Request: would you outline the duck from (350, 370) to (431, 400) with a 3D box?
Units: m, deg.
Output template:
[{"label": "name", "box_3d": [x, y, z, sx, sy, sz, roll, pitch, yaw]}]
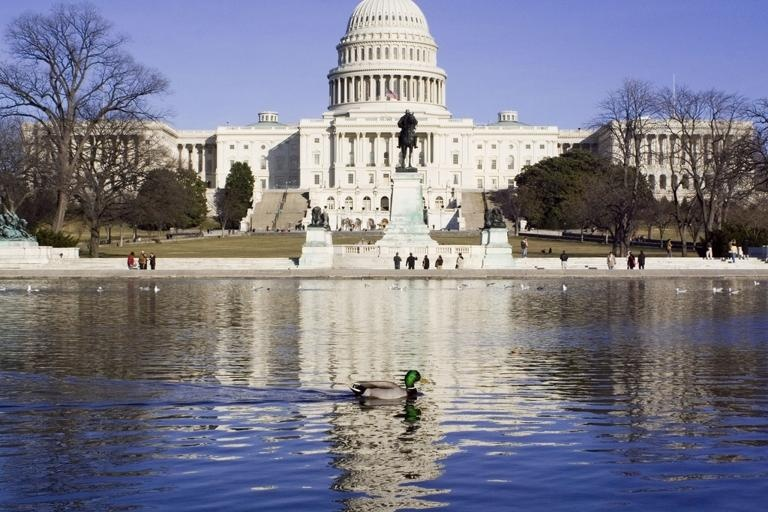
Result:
[{"label": "duck", "box_3d": [0.021, 3.004, 29.053, 1.552, 0.646, 0.704, -1, 2, -4]}]
